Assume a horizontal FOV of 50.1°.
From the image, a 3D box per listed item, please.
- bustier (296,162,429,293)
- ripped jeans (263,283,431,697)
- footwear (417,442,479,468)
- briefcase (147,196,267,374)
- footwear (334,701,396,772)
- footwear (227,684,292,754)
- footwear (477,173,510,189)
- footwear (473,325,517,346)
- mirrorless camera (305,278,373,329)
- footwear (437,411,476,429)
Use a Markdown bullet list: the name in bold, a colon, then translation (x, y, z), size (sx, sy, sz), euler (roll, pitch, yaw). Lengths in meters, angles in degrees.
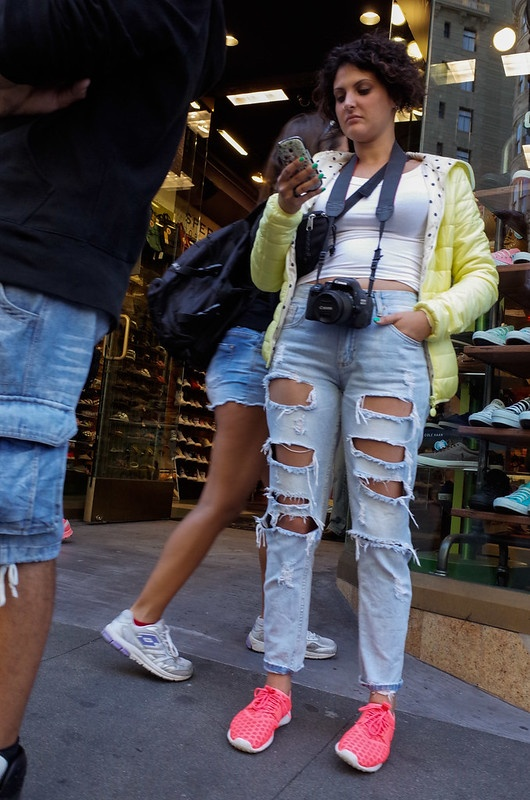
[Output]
- **bustier**: translation (0.280, -0.434, 1.371), size (0.223, 0.281, 0.170), euler (11, 12, 40)
- **ripped jeans**: translation (0.165, 0.175, 1.283), size (0.414, 0.579, 0.224), euler (9, 6, 14)
- **footwear**: translation (0.752, 0.219, 2.304), size (0.251, 0.099, 0.089), euler (3, -11, 23)
- **briefcase**: translation (-0.164, -0.328, 1.854), size (0.396, 0.509, 0.203), euler (30, 4, 38)
- **footwear**: translation (0.199, 0.665, 1.113), size (0.061, 0.068, 0.167), euler (30, 2, 20)
- **footwear**: translation (-0.011, 0.648, 1.156), size (0.061, 0.065, 0.158), euler (17, -2, 25)
- **footwear**: translation (0.904, -0.867, 2.223), size (0.092, 0.032, 0.098), euler (0, 5, 5)
- **footwear**: translation (0.807, -0.236, 2.023), size (0.176, 0.065, 0.061), euler (1, 5, -4)
- **mirrorless camera**: translation (0.155, -0.218, 1.240), size (0.152, 0.101, 0.109), euler (18, 23, 33)
- **footwear**: translation (0.761, 0.081, 2.268), size (0.103, 0.039, 0.038), euler (-3, -23, 45)
